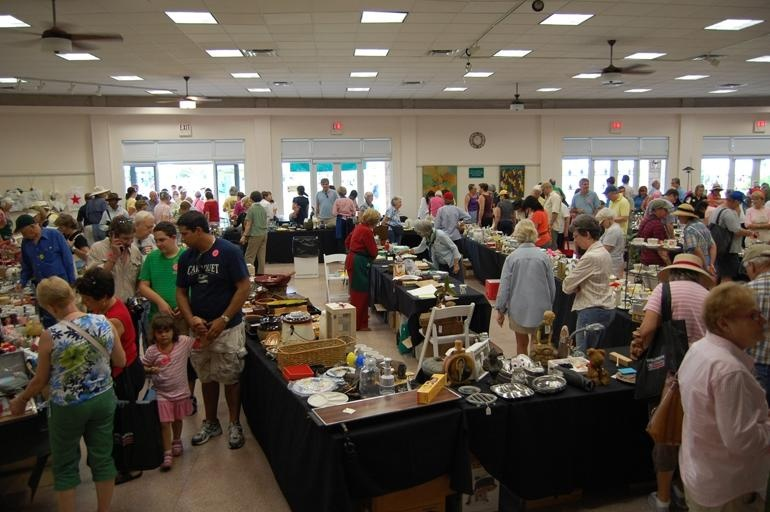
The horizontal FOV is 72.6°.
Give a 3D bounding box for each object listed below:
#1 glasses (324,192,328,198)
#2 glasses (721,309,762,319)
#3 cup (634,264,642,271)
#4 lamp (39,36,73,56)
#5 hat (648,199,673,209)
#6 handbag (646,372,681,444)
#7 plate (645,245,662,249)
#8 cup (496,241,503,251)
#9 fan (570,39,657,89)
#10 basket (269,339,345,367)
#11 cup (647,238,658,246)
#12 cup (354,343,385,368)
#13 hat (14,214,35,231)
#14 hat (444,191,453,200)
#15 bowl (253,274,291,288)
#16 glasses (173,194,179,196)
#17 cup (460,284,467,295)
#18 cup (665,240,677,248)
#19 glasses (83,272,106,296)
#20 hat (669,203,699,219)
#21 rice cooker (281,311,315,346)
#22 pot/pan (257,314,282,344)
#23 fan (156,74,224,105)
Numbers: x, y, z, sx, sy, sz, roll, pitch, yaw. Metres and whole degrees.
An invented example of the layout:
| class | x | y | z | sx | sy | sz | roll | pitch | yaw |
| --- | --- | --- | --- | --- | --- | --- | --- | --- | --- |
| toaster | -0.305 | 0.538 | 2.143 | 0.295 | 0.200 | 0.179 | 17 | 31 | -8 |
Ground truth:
| class | x | y | z | sx | sy | sz | roll | pitch | yaw |
| --- | --- | --- | --- | --- | --- | --- | --- | --- | --- |
| glasses | -1.518 | -1.575 | 13.714 | 0.126 | 0.174 | 0.096 | 9 | 41 | 22 |
| glasses | 2.358 | 0.385 | 3.438 | 0.248 | 0.072 | 0.051 | -1 | 8 | -9 |
| cup | 3.203 | 0.146 | 6.646 | 0.091 | 0.064 | 0.090 | -2 | 5 | 0 |
| lamp | -4.280 | -2.719 | 6.827 | 0.257 | 0.110 | 0.252 | -3 | 3 | -13 |
| hat | 4.361 | -0.816 | 8.290 | 0.316 | 0.075 | 0.284 | 1 | 14 | 14 |
| handbag | 2.046 | 1.121 | 3.825 | 0.214 | 0.504 | 0.111 | 4 | 9 | 28 |
| plate | 3.666 | -0.122 | 7.208 | 0.150 | 0.033 | 0.147 | -1 | 4 | 2 |
| cup | 2.200 | -0.179 | 10.130 | 0.152 | 0.167 | 0.151 | -1 | 9 | 0 |
| fan | 4.628 | -3.916 | 10.671 | 1.307 | 0.646 | 1.286 | -5 | 7 | -32 |
| basket | -0.659 | 0.889 | 4.748 | 0.541 | 0.160 | 0.257 | -7 | 14 | -22 |
| cup | 3.944 | -0.200 | 7.731 | 0.148 | 0.077 | 0.176 | -1 | 0 | 4 |
| cup | -0.149 | 0.864 | 4.532 | 0.217 | 0.213 | 0.134 | 9 | 17 | 39 |
| hat | -4.099 | -0.392 | 6.034 | 0.174 | 0.134 | 0.238 | -3 | 19 | 45 |
| hat | 1.246 | -1.181 | 10.361 | 0.150 | 0.157 | 0.203 | -1 | 5 | 0 |
| bowl | -1.296 | 0.288 | 6.024 | 0.285 | 0.087 | 0.230 | -4 | 6 | -20 |
| glasses | -6.172 | -1.787 | 15.474 | 0.088 | 0.074 | 0.116 | -1 | 4 | -4 |
| cup | 1.008 | 0.439 | 6.816 | 0.093 | 0.113 | 0.091 | -2 | 11 | 0 |
| cup | 4.163 | -0.175 | 7.674 | 0.120 | 0.053 | 0.160 | 3 | 14 | 19 |
| glasses | -2.328 | 0.225 | 4.245 | 0.160 | 0.179 | 0.188 | -7 | 8 | -11 |
| hat | 4.181 | -0.589 | 7.274 | 0.350 | 0.155 | 0.347 | 7 | -2 | -43 |
| rice cooker | -0.844 | 0.743 | 5.146 | 0.319 | 0.304 | 0.334 | -7 | 6 | -43 |
| pot/pan | -1.151 | 0.743 | 5.275 | 0.251 | 0.280 | 0.244 | 1 | 0 | -10 |
| fan | -4.768 | -4.047 | 12.782 | 1.361 | 0.592 | 1.332 | -1 | 4 | -15 |
